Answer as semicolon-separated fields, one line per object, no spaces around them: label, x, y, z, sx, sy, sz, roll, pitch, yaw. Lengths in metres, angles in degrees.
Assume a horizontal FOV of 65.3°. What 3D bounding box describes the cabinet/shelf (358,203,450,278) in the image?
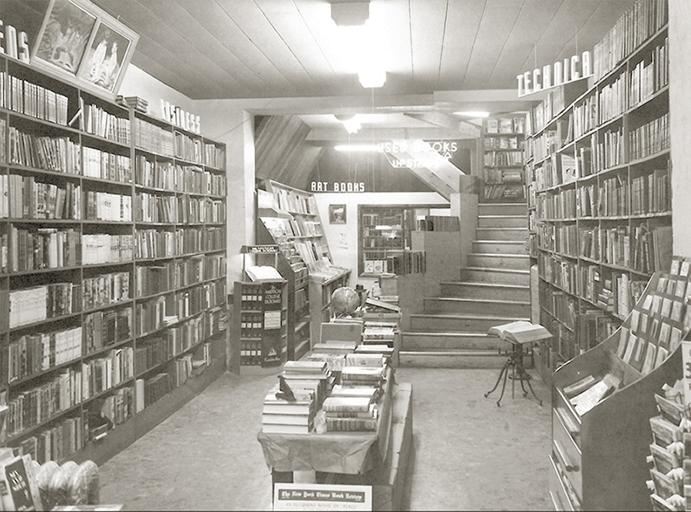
cabinet/shelf;1.150;-0.359;10.806;1.586;1.474;0.579;0;2;-2

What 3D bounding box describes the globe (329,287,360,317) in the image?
globe;0.010;0.522;6.252;0.315;0.377;0.320;5;-4;-29

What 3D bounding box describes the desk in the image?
desk;2.160;1.435;6.868;0.549;0.788;0.618;3;-12;34

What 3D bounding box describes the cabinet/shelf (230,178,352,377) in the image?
cabinet/shelf;-0.935;0.280;8.511;0.994;3.059;3.168;-1;4;2
